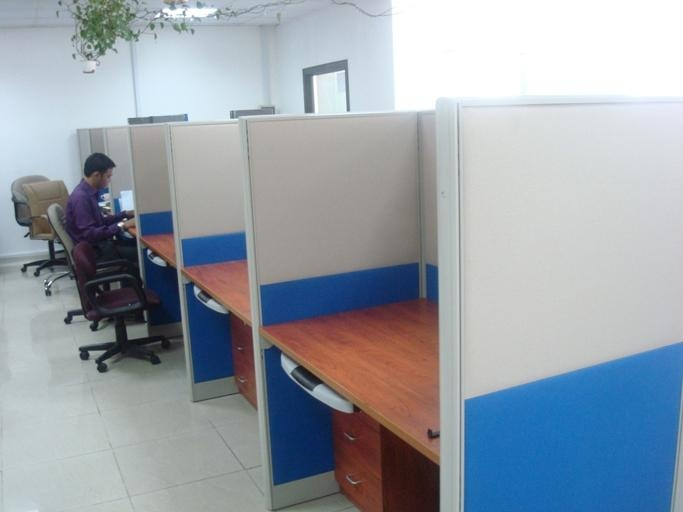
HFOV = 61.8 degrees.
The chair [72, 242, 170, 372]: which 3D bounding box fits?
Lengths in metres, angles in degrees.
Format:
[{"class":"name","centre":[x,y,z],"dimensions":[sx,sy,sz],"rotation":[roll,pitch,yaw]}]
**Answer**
[{"class":"chair","centre":[-1.676,0.276,4.657],"dimensions":[0.873,1.108,0.914],"rotation":[-5,16,-18]}]

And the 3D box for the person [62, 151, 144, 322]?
[{"class":"person","centre":[-2.143,-0.200,5.354],"dimensions":[0.784,1.443,0.665],"rotation":[-3,14,-20]}]
